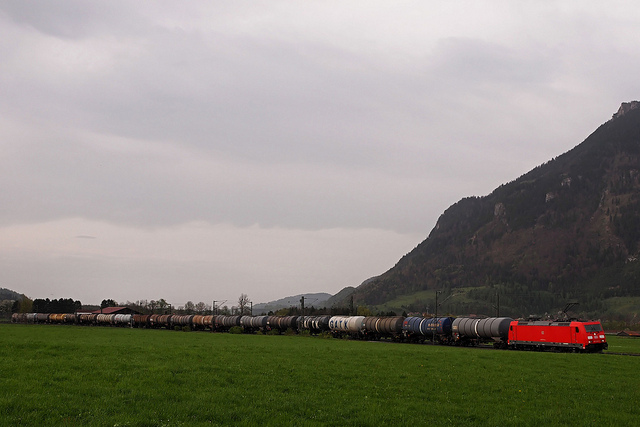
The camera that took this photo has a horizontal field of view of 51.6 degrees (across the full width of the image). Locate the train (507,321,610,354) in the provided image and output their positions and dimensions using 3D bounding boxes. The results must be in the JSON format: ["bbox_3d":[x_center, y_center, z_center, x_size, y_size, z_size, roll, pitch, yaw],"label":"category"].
[{"bbox_3d":[35.631,18.800,101.473,5.168,4.915,17.100,2,-9,-23],"label":"train"}]
